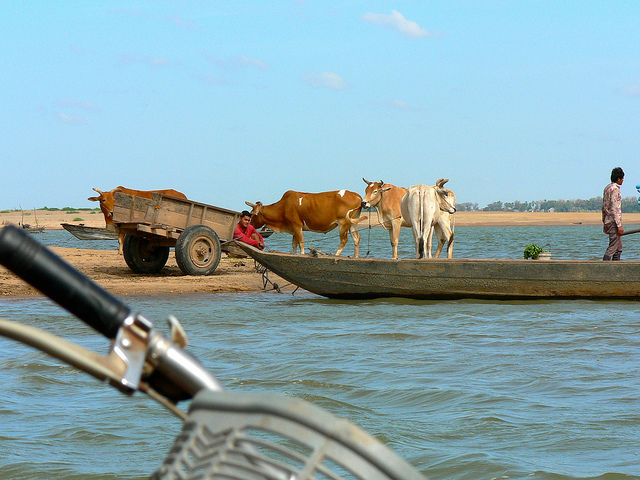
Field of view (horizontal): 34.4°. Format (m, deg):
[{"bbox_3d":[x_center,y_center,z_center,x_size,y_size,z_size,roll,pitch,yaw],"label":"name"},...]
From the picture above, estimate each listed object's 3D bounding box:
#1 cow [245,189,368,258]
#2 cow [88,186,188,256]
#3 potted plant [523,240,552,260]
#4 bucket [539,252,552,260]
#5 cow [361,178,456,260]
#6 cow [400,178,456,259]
[{"bbox_3d":[-0.329,-0.403,25.279,3.183,1.541,0.781,1,-1,22],"label":"cow"},{"bbox_3d":[-4.220,-0.378,24.485,3.210,1.668,1.096,3,-4,32],"label":"cow"},{"bbox_3d":[5.747,0.249,27.386,0.870,0.532,0.709,1,-4,12],"label":"potted plant"},{"bbox_3d":[3.986,0.287,18.337,0.157,0.088,0.154,1,-4,0],"label":"bucket"},{"bbox_3d":[2.013,-0.396,22.942,2.683,1.575,0.622,4,-5,-26],"label":"cow"},{"bbox_3d":[2.110,-0.513,21.171,0.874,1.591,2.508,-1,1,6],"label":"cow"}]
